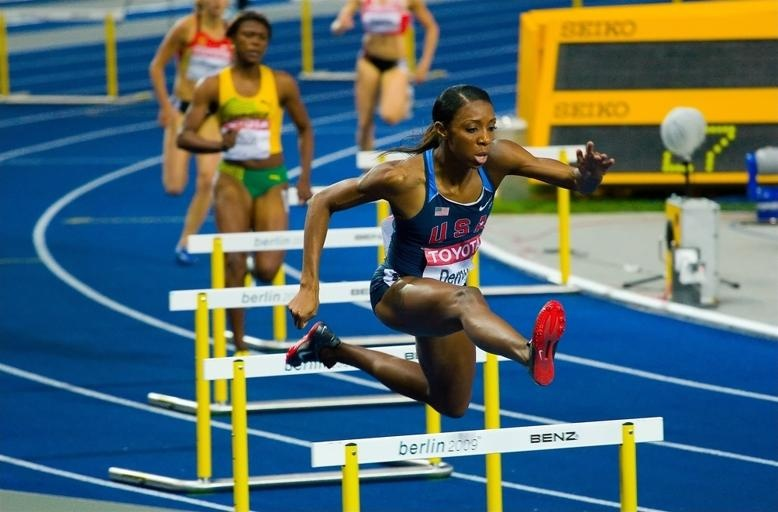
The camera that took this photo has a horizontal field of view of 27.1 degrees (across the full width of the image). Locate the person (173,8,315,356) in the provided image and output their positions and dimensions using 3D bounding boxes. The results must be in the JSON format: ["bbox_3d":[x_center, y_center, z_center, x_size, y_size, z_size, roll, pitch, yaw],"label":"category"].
[{"bbox_3d":[-1.408,-0.763,15.820,1.121,3.102,1.298,0,5,-10],"label":"person"}]
